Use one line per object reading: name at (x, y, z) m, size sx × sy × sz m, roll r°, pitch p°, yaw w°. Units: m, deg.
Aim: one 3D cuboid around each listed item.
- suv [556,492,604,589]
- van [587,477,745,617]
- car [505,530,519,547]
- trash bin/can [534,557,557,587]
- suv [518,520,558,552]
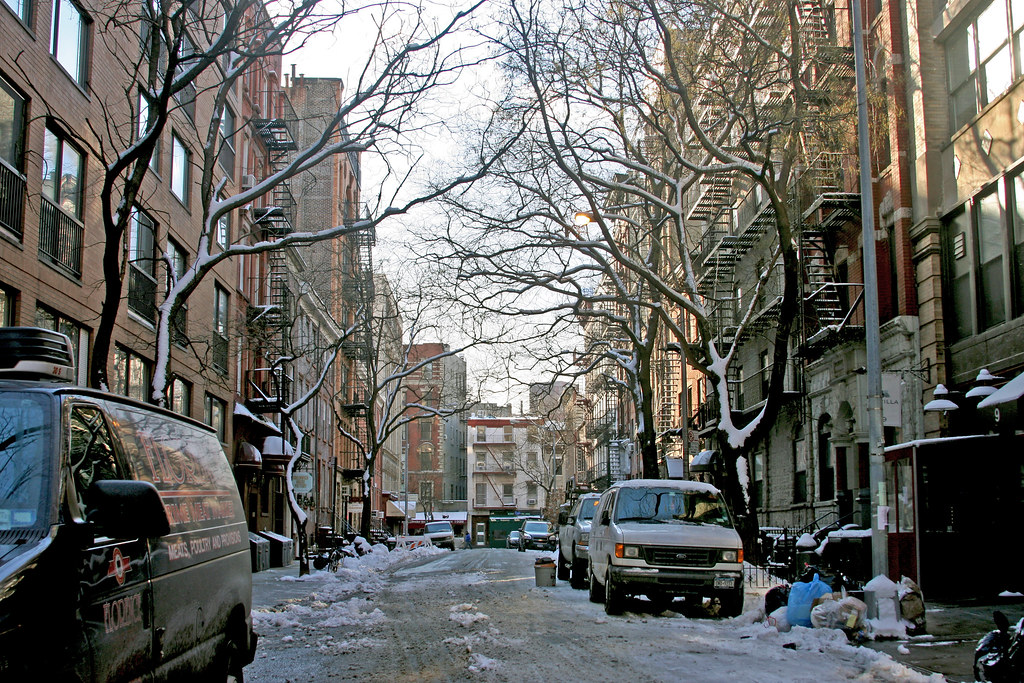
suv at (1.835, 5.515, 33.824) m, size 1.276 × 1.328 × 2.576 m, roll 1°, pitch -16°, yaw -2°
van at (3.196, 4.682, 27.056) m, size 1.778 × 1.834 × 3.835 m, roll 1°, pitch -24°, yaw -2°
car at (0.026, 13.775, 86.886) m, size 0.947 × 1.118 × 1.909 m, roll 0°, pitch -16°, yaw -2°
trash bin/can at (0.906, 6.176, 33.078) m, size 0.570 × 0.666 × 0.595 m, roll 1°, pitch -9°, yaw -10°
suv at (1.399, 10.620, 67.977) m, size 1.727 × 2.118 × 3.622 m, roll 1°, pitch -18°, yaw -5°
